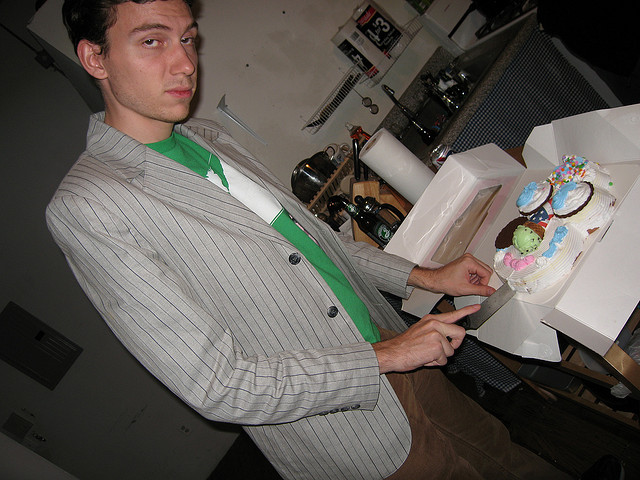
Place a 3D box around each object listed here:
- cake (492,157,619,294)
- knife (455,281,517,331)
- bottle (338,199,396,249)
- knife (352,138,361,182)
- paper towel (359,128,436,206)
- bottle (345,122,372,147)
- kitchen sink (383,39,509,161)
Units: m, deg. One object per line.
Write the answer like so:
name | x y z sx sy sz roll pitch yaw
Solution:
cake | 0.724 -0.046 1.394 0.144 0.450 0.306 27 2 -25
knife | 0.537 0.260 1.545 0.027 0.083 0.351 -19 -25 -37
bottle | 0.213 -0.066 2.210 0.107 0.310 0.111 -35 11 7
knife | 0.186 -0.416 2.291 0.033 0.248 0.034 -5 21 -11
paper towel | 0.362 -0.326 2.082 0.356 0.206 0.200 36 -32 -10
bottle | 0.227 -0.571 2.557 0.084 0.077 0.229 46 6 25
kitchen sink | 0.626 -0.750 2.461 0.148 0.690 0.591 30 -22 -9
